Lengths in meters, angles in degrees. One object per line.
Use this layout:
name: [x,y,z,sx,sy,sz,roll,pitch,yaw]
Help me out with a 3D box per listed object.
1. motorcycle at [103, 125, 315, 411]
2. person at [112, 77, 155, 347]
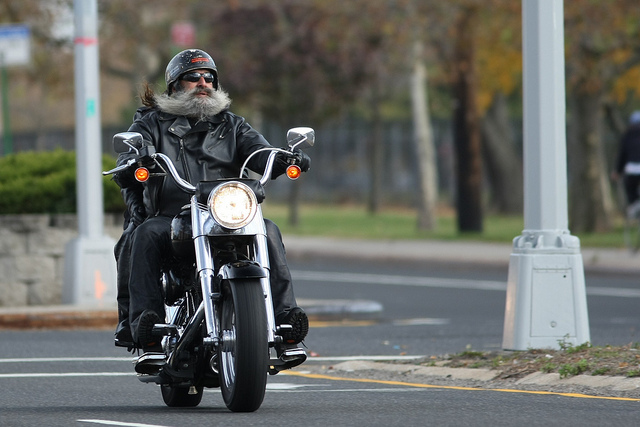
motorcycle: [-1.113,0.616,16.476,1.870,3.046,0.716,-3,-3,10]
person: [-2.107,0.035,17.156,0.520,2.830,0.514,-6,-11,43]
